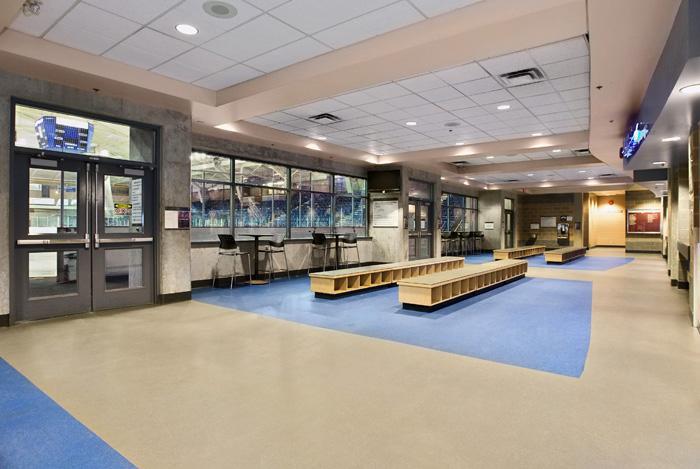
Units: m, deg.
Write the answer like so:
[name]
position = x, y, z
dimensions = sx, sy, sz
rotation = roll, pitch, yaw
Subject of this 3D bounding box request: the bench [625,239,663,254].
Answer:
[bench]
position = 14.858, 0.572, 20.863
dimensions = 1.519, 0.724, 0.473
rotation = 6, 12, 25
